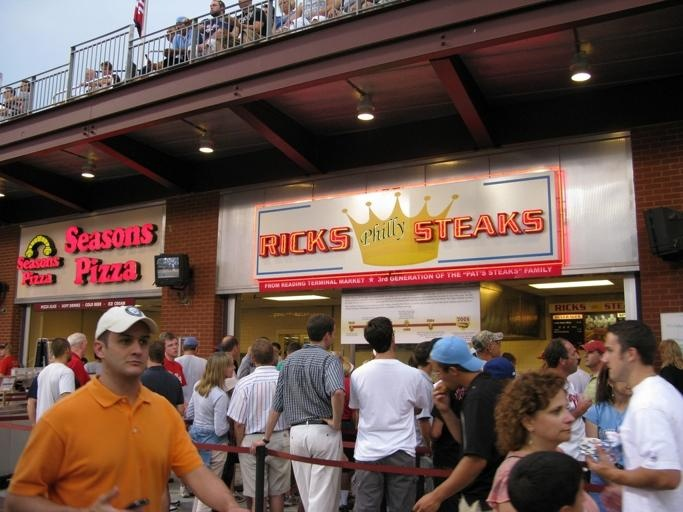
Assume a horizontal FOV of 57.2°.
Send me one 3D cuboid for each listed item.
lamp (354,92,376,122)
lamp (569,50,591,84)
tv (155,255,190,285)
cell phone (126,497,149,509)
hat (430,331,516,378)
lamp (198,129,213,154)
[{"bbox_3d":[0.412,-2.447,10.229,0.360,0.356,0.352,-1,-9,8],"label":"lamp"},{"bbox_3d":[3.400,-2.746,8.955,0.257,0.407,0.298,-5,-9,20],"label":"lamp"},{"bbox_3d":[-3.529,0.275,13.304,0.784,0.663,0.437,-3,-1,29],"label":"tv"},{"bbox_3d":[-1.186,1.445,3.643,0.089,0.084,0.087,2,-3,2],"label":"cell phone"},{"bbox_3d":[1.084,0.831,5.044,0.675,0.230,0.423,10,-3,-1],"label":"hat"},{"bbox_3d":[-2.581,-2.219,11.931,0.214,0.426,0.327,0,-9,-13],"label":"lamp"}]
